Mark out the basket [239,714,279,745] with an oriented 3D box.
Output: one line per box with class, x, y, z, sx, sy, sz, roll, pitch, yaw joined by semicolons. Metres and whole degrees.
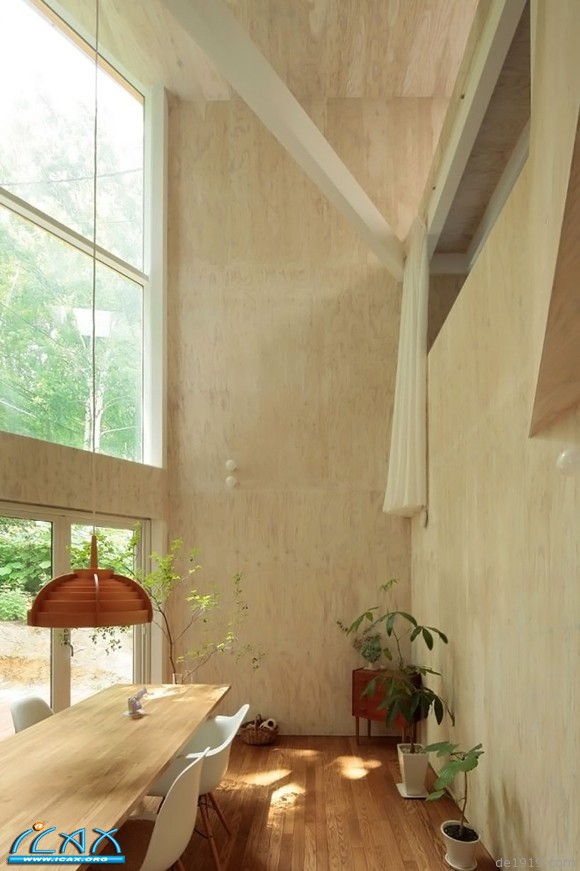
basket;-0.249;2.438;4.923;0.203;0.188;0.200;3;-11;-10
